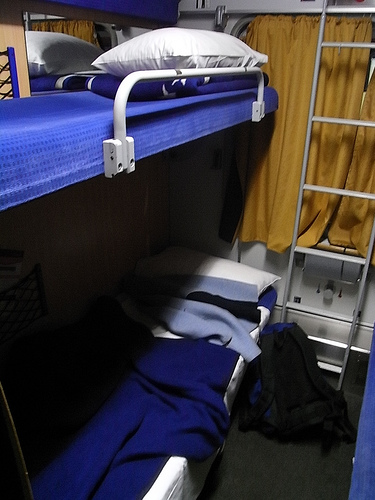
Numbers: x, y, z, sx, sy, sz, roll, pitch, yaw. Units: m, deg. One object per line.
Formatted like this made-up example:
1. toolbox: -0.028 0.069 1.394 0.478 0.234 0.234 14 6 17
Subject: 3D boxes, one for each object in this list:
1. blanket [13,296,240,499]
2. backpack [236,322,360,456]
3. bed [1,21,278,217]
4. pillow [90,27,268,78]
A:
1. blanket: -0.262 0.696 1.581 0.907 0.219 1.040 12 30 12
2. backpack: 0.644 0.908 2.194 0.592 0.330 0.881 -19 37 -9
3. bed: -0.146 -0.610 1.510 0.744 0.345 1.286 24 44 34
4. pillow: 0.012 -0.872 1.519 0.408 0.188 0.612 23 32 37
